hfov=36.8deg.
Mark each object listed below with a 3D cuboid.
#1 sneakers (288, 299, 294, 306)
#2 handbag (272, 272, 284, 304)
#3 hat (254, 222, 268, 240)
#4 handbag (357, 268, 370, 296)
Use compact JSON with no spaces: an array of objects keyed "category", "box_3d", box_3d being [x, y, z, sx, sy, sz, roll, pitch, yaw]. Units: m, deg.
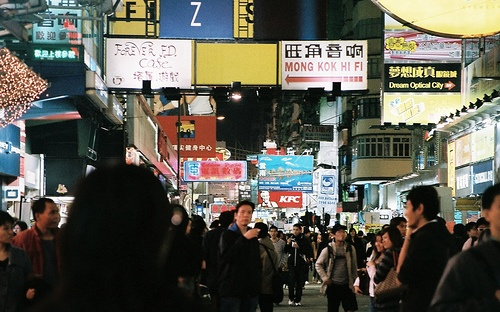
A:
[{"category":"sneakers","box_3d":[1.294,4.628,23.657,0.156,0.147,0.163,1,0,26]},{"category":"handbag","box_3d":[0.667,3.137,17.882,0.237,0.717,0.550,2,-5,4]},{"category":"hat","box_3d":[0.245,1.812,18.261,0.346,0.428,0.442,-7,-34,14]},{"category":"handbag","box_3d":[2.681,2.951,17.529,0.228,0.627,0.304,2,6,29]}]
